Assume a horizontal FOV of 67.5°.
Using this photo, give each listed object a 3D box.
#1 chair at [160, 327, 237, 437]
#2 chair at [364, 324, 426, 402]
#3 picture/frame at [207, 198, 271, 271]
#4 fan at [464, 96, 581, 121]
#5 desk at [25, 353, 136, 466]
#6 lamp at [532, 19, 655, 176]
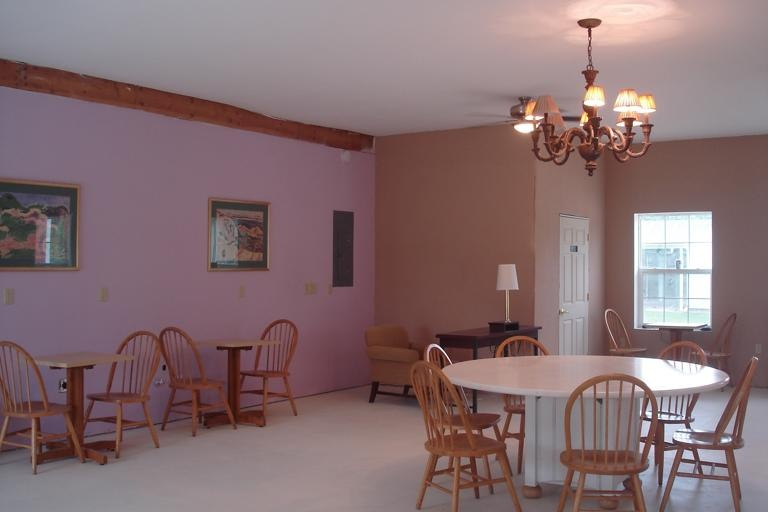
[{"bbox_3d":[-2.151,1.410,6.581,0.803,1.135,0.752,3,-6,-39],"label":"chair"},{"bbox_3d":[0.308,1.449,7.703,1.074,0.972,1.053,1,-3,-10],"label":"chair"},{"bbox_3d":[-1.874,-0.279,7.291,0.048,0.980,0.943,-3,-4,43],"label":"picture/frame"},{"bbox_3d":[1.567,-1.700,6.541,0.715,0.183,0.739,4,-1,-44],"label":"fan"},{"bbox_3d":[-3.005,1.489,5.633,0.985,1.135,0.992,1,-3,3],"label":"desk"},{"bbox_3d":[1.897,-1.383,5.233,1.028,1.287,0.953,2,4,33],"label":"lamp"}]
